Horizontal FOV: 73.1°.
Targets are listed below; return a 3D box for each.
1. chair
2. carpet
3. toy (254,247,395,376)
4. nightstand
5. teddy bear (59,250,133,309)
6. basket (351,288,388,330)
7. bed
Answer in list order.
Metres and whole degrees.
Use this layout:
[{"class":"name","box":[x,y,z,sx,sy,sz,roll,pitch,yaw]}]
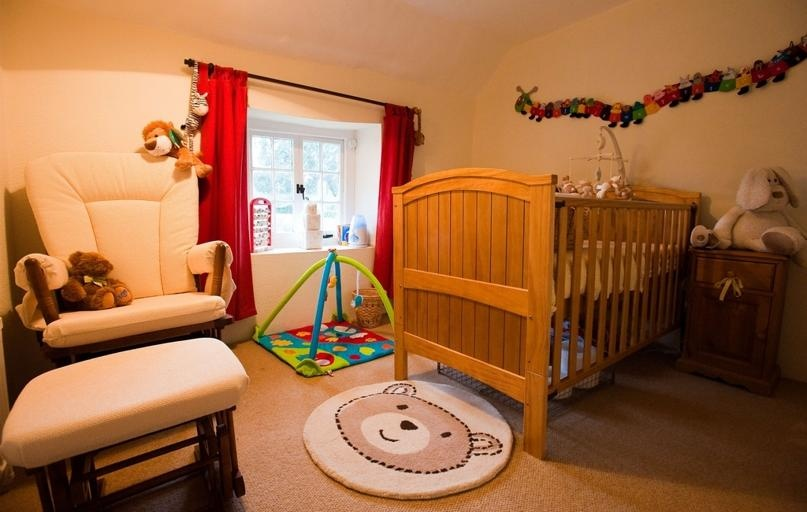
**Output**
[{"class":"chair","box":[-1.860,-0.021,4.058,1.640,1.619,1.419,0,-2,-35]},{"class":"carpet","box":[0.027,1.125,3.415,1.291,0.305,0.852,-1,11,3]},{"class":"toy","box":[-0.551,0.453,4.360,1.026,0.695,1.006,-7,18,-38]},{"class":"nightstand","box":[2.473,0.432,4.039,0.539,1.016,0.652,-10,14,-44]},{"class":"teddy bear","box":[-1.972,0.206,3.566,0.358,0.397,0.414,-22,-15,16]},{"class":"basket","box":[-0.313,0.466,4.857,0.322,0.256,0.352,0,4,-1]},{"class":"bed","box":[1.259,0.190,4.451,2.642,1.590,1.429,-6,10,-43]}]
